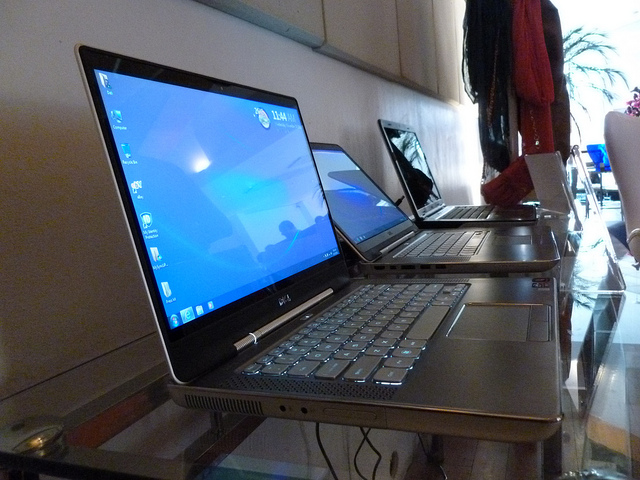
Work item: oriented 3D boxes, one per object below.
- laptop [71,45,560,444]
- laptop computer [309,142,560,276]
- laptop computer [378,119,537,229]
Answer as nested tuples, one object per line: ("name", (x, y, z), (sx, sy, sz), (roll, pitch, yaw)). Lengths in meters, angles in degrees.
("laptop", (0.069, -0.043, 0.642), (0.471, 0.364, 0.598), (0, 6, 18))
("laptop computer", (0.277, -0.111, 1.010), (0.555, 0.262, 0.545), (-2, 10, 11))
("laptop computer", (0.415, -0.178, 1.418), (0.454, 0.304, 0.507), (1, 21, 18))
